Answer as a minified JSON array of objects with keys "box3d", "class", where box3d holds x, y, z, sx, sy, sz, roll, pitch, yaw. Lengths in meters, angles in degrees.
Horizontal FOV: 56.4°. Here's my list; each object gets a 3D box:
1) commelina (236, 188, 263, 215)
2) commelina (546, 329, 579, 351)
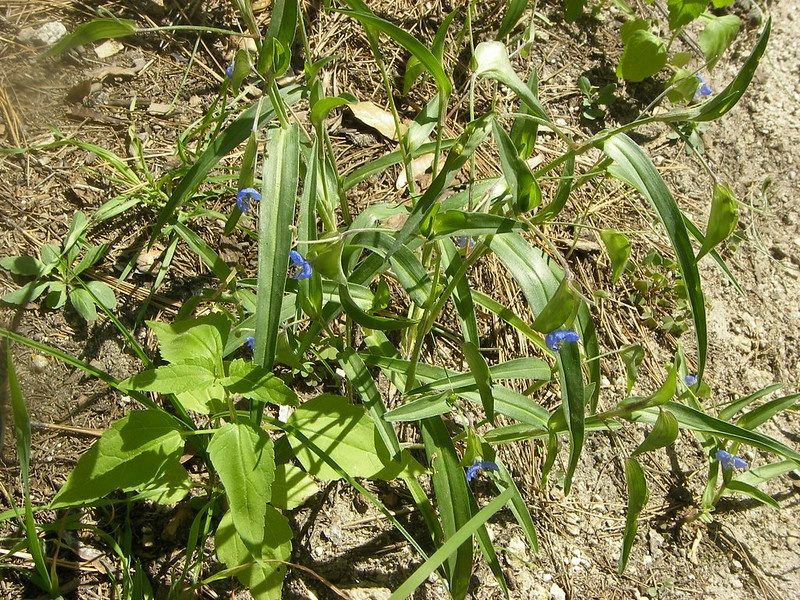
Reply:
[{"box3d":[-0.527,-0.347,2.595,0.079,0.102,0.039,13,4,-11],"class":"commelina"},{"box3d":[0.530,0.127,2.416,0.079,0.041,0.081,-8,59,9],"class":"commelina"}]
